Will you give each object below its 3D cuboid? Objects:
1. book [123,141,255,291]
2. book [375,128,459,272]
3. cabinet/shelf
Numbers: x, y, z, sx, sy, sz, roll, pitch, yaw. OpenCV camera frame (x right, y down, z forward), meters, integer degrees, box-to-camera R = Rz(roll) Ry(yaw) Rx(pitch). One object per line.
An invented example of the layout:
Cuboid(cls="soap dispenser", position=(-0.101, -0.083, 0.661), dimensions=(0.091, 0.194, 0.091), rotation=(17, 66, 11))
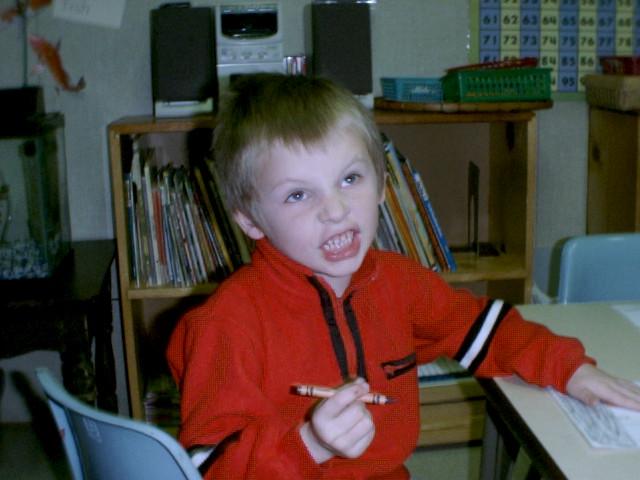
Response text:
Cuboid(cls="book", position=(-0.455, -0.046, 1.815), dimensions=(0.334, 0.470, 0.152), rotation=(2, 4, -5))
Cuboid(cls="book", position=(0.299, -0.094, 1.940), dimensions=(0.129, 0.435, 0.316), rotation=(-15, 15, 45))
Cuboid(cls="cabinet/shelf", position=(-0.014, 0.087, 1.400), dimensions=(1.039, 1.018, 0.342), rotation=(-2, 6, -8))
